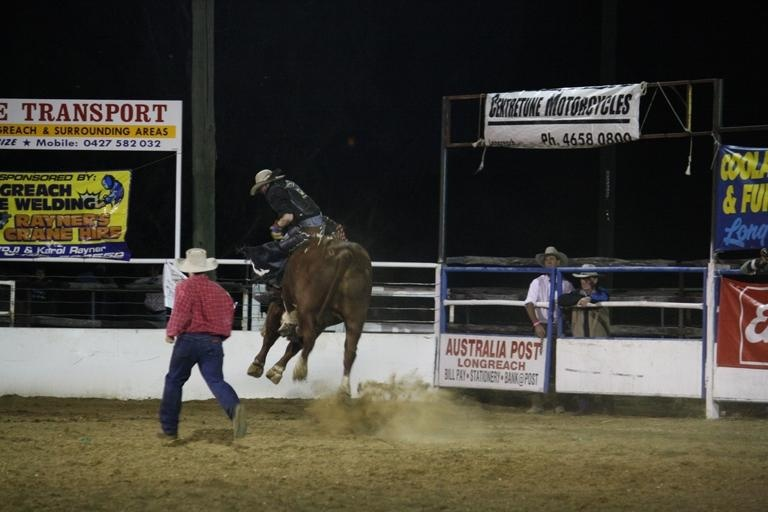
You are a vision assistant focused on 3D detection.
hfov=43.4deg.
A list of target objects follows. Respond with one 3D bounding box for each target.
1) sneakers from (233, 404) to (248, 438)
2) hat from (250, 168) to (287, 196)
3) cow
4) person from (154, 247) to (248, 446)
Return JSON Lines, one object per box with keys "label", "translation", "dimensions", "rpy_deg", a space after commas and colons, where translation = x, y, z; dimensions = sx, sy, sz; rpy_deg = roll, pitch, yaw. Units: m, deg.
{"label": "sneakers", "translation": [-2.171, 2.479, 14.457], "dimensions": [0.191, 0.506, 0.228], "rpy_deg": [0, -2, -9]}
{"label": "hat", "translation": [-2.100, -1.336, 16.925], "dimensions": [0.578, 0.241, 0.506], "rpy_deg": [-37, 8, -10]}
{"label": "cow", "translation": [-1.177, 1.033, 16.697], "dimensions": [1.895, 2.713, 0.611], "rpy_deg": [0, -2, -1]}
{"label": "person", "translation": [-2.761, 1.345, 14.594], "dimensions": [1.194, 2.916, 0.666], "rpy_deg": [1, -2, -12]}
